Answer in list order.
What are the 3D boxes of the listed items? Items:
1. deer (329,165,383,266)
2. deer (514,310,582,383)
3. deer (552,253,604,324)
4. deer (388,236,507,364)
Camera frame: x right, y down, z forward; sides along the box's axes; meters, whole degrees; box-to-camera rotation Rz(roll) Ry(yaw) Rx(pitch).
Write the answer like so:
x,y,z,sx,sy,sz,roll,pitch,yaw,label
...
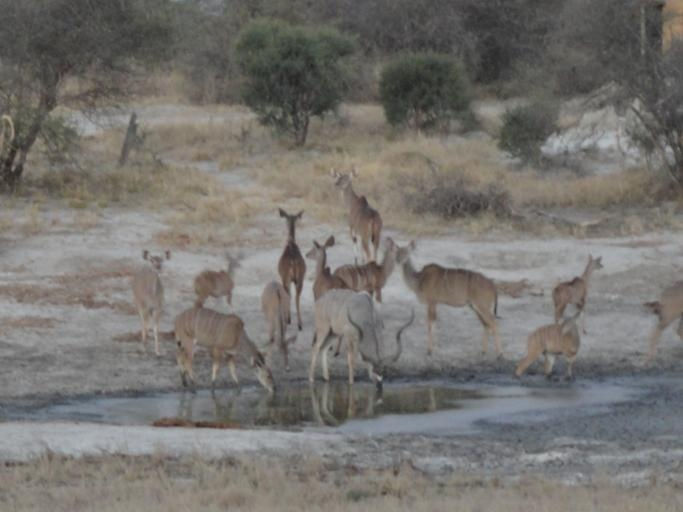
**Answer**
x,y,z,sx,sy,sz,roll,pitch,yaw,label
0.470,-1.021,38.285,1.017,2.944,1.129,0,9,-6,deer
5.069,2.109,34.089,2.242,1.624,0.489,-5,-1,42,deer
5.995,0.823,36.085,1.473,1.564,0.440,-15,19,-24,deer
2.457,1.075,35.646,2.895,3.172,0.943,3,11,8,deer
